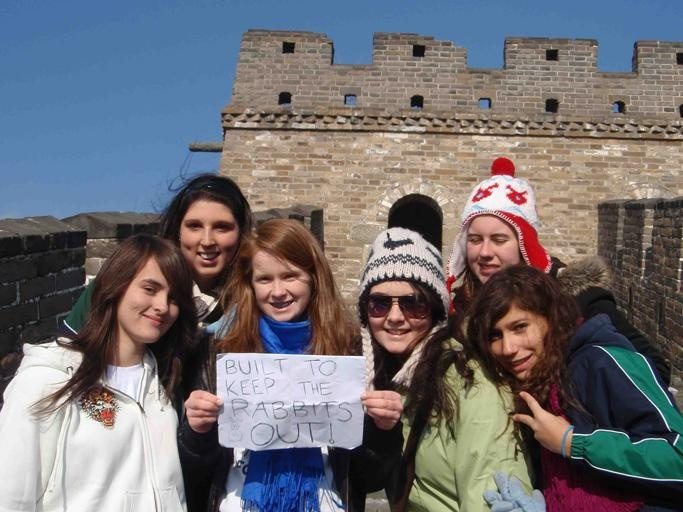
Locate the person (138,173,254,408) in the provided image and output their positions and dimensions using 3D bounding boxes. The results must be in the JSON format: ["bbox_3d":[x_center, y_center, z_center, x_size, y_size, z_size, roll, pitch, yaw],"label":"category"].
[{"bbox_3d":[-0.900,0.125,4.245,0.767,1.235,0.541,2,-2,-7],"label":"person"}]

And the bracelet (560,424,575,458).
[{"bbox_3d":[1.120,0.911,3.330,0.061,0.146,0.036,0,-8,14],"label":"bracelet"}]
